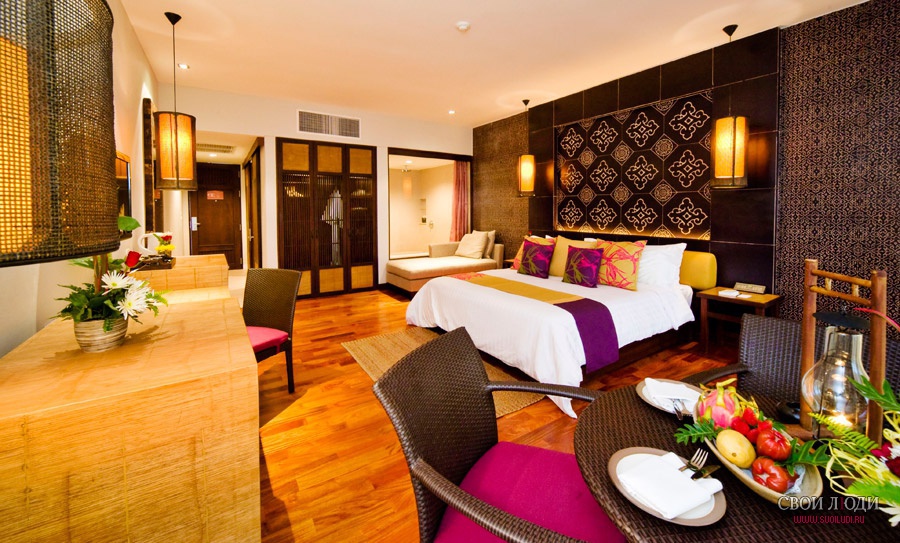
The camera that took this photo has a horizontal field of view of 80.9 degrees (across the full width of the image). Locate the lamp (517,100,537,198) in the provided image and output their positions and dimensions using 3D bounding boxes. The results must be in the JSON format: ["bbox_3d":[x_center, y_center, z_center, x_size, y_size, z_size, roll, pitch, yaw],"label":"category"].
[{"bbox_3d":[1.039,-1.652,7.084,0.237,1.228,0.370,3,9,12],"label":"lamp"}]

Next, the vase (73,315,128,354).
[{"bbox_3d":[-1.848,0.328,2.837,0.228,0.151,0.200,0,1,-10],"label":"vase"}]

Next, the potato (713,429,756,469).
[{"bbox_3d":[1.286,0.793,2.442,0.179,0.126,0.105,21,44,33],"label":"potato"}]

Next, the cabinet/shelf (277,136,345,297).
[{"bbox_3d":[-1.919,-0.751,7.273,0.891,1.978,0.305,2,6,-25],"label":"cabinet/shelf"}]

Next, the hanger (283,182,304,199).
[{"bbox_3d":[-2.096,-1.095,7.144,0.289,0.178,0.033,-7,12,-42],"label":"hanger"}]

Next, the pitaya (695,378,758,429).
[{"bbox_3d":[1.306,0.608,2.608,0.327,0.194,0.294,3,5,5],"label":"pitaya"}]

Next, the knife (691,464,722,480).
[{"bbox_3d":[1.160,0.910,2.402,0.130,0.019,0.022,-19,46,-9],"label":"knife"}]

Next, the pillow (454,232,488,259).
[{"bbox_3d":[0.329,-0.460,8.200,0.452,0.421,0.133,6,-21,46],"label":"pillow"}]

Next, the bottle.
[{"bbox_3d":[1.780,0.482,2.519,0.208,0.457,0.280,8,5,21],"label":"bottle"}]

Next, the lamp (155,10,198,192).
[{"bbox_3d":[-2.510,-1.478,4.884,0.367,1.682,0.362,-4,6,-37],"label":"lamp"}]

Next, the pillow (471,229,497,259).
[{"bbox_3d":[0.552,-0.442,8.210,0.118,0.357,0.399,7,2,-37],"label":"pillow"}]

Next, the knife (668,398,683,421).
[{"bbox_3d":[1.129,0.694,2.654,0.051,0.017,0.169,-6,14,11],"label":"knife"}]

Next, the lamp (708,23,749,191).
[{"bbox_3d":[2.640,-1.438,4.966,0.548,1.234,0.629,0,0,40],"label":"lamp"}]

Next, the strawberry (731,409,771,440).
[{"bbox_3d":[1.393,0.703,2.450,0.147,0.057,0.146,-8,7,35],"label":"strawberry"}]
